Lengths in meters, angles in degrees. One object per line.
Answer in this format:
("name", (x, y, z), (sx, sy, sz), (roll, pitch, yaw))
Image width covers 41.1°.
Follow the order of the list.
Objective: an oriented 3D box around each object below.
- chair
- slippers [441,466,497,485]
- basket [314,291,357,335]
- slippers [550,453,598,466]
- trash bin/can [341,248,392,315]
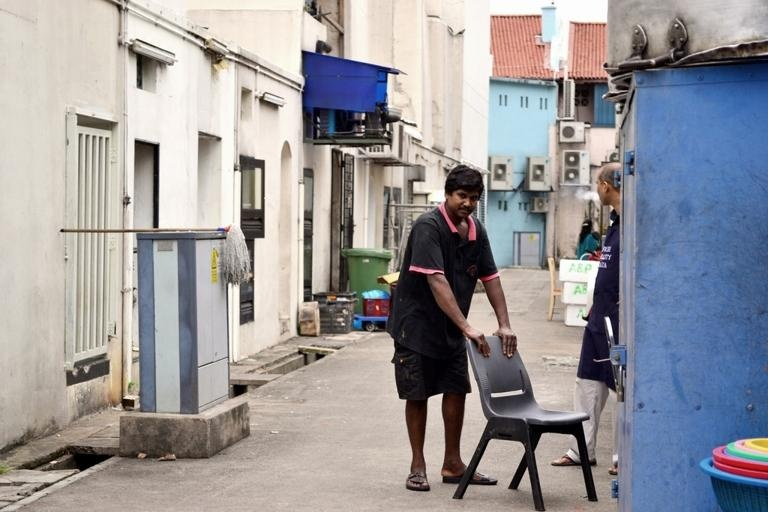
("chair", (1.089, 1.310, 8.204), (1.114, 1.330, 0.751), (-2, 4, 16))
("slippers", (0.728, 1.845, 8.487), (0.472, 0.151, 0.183), (-1, -3, 5))
("basket", (-0.821, 0.962, 18.364), (0.597, 0.679, 0.894), (0, -1, 3))
("slippers", (1.705, 1.849, 9.116), (0.393, 0.109, 0.157), (1, -5, -5))
("trash bin/can", (-0.252, 0.481, 20.128), (1.090, 1.455, 1.108), (1, -1, -17))
